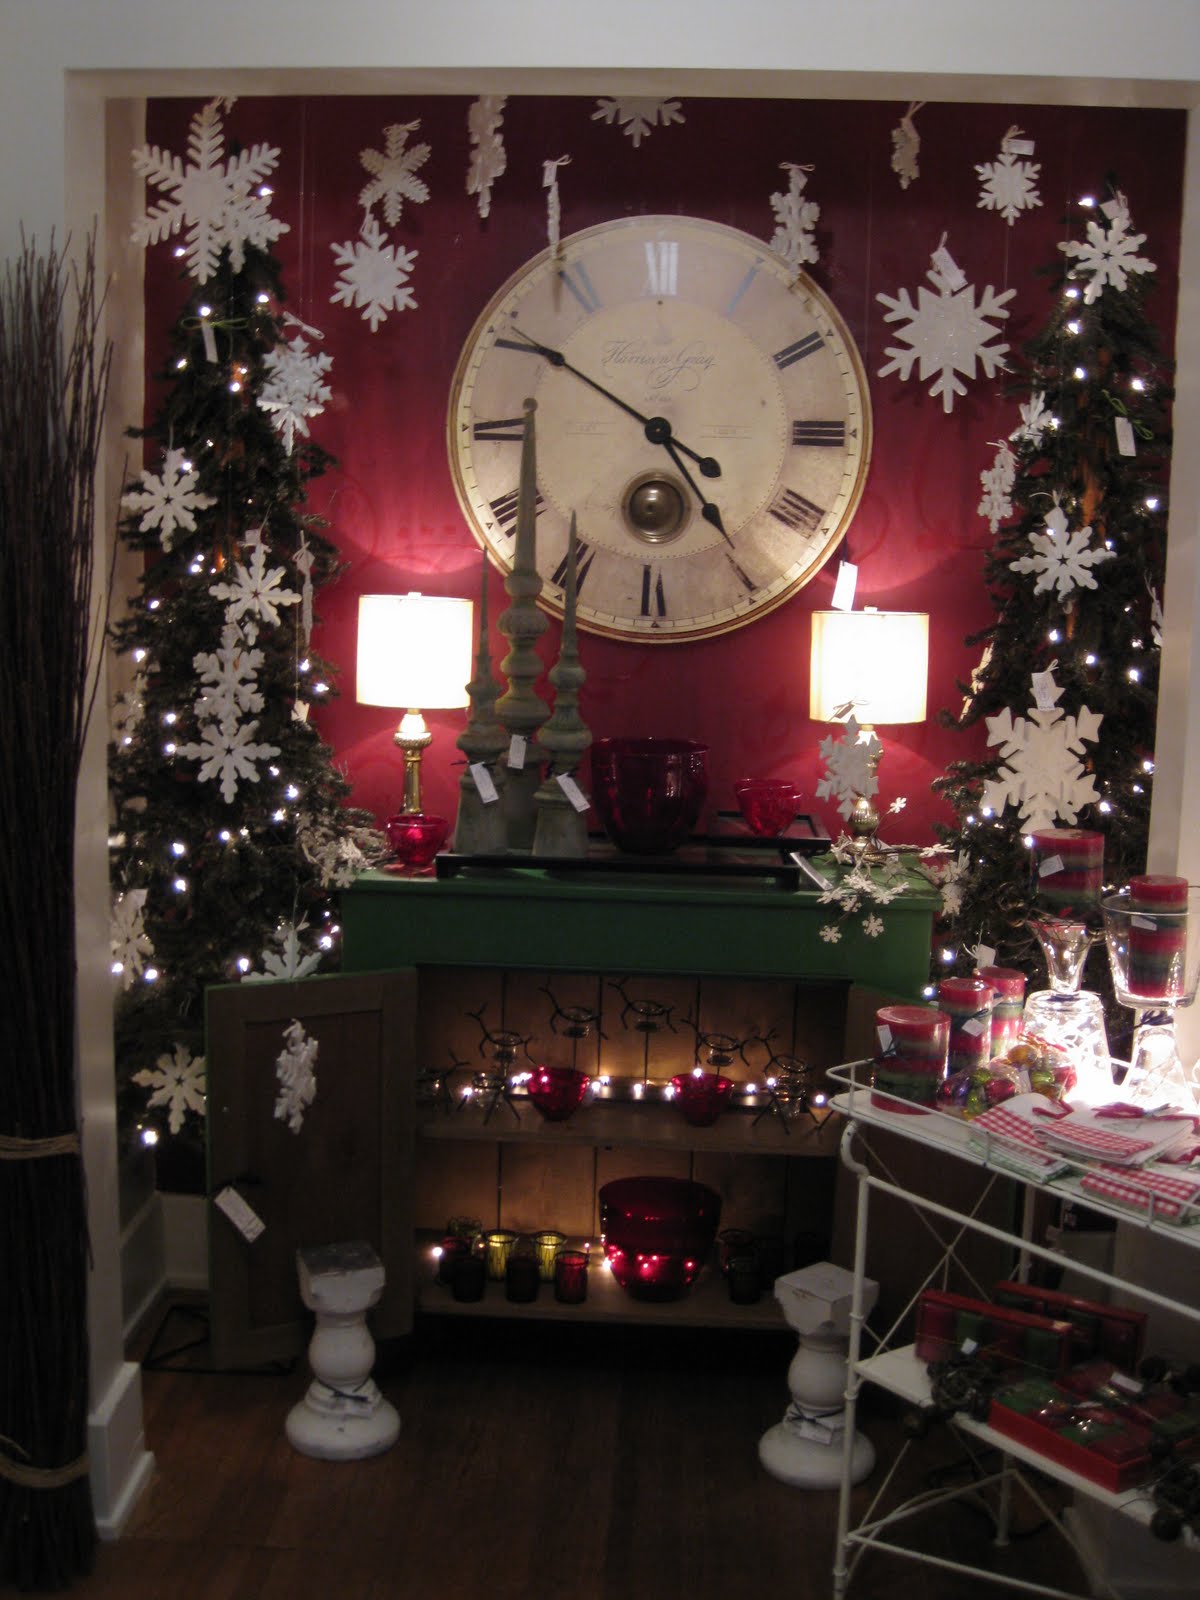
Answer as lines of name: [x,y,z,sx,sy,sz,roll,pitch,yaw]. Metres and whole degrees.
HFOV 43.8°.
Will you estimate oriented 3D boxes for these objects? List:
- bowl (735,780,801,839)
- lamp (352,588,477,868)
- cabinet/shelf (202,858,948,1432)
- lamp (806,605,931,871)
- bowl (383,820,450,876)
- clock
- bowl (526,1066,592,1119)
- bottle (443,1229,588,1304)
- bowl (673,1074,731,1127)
bowl: [0.338,0.017,2.992,0.121,0.092,0.111,0,15,0]
lamp: [-0.386,-0.155,3.122,0.236,0.555,0.464,1,5,-6]
cabinet/shelf: [-0.012,0.645,2.977,1.488,0.909,0.712,3,1,-8]
lamp: [0.532,-0.122,3.016,0.254,0.519,0.734,2,5,12]
bowl: [-0.365,0.095,3.002,0.116,0.087,0.103,-5,16,-27]
clock: [0.145,-0.836,3.227,1.024,0.974,0.046,0,5,2]
bowl: [-0.081,0.580,2.997,0.100,0.080,0.107,2,11,0]
bottle: [-0.175,0.947,3.023,0.192,0.054,0.171,0,4,-5]
bowl: [0.207,0.587,2.976,0.103,0.067,0.101,1,12,0]
